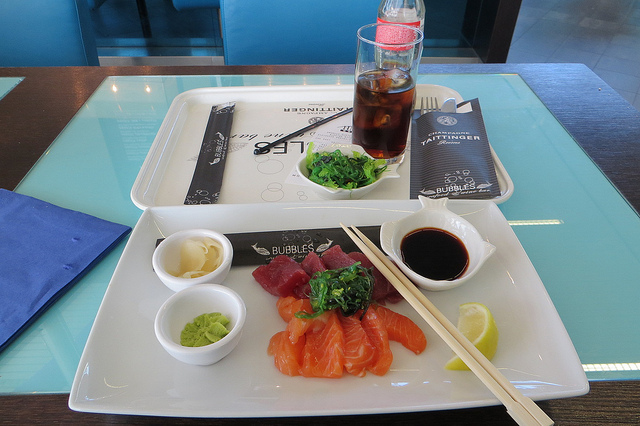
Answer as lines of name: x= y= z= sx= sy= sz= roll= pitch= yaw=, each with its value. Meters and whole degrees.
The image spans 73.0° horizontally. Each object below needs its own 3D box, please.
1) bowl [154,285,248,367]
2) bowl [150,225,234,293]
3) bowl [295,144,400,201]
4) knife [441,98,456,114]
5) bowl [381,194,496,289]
bowl: x=-0.295 y=0.267 z=1.074 sx=0.211 sy=0.115 sz=0.199 roll=1 pitch=44 yaw=-1
bowl: x=-0.339 y=0.115 z=1.186 sx=0.202 sy=0.084 sz=0.215 roll=0 pitch=53 yaw=-1
bowl: x=0.081 y=-0.132 z=1.378 sx=0.231 sy=0.081 sz=0.225 roll=-1 pitch=39 yaw=1
knife: x=0.490 y=-0.404 z=1.639 sx=0.033 sy=0.098 sz=0.040 roll=6 pitch=15 yaw=2
bowl: x=0.322 y=0.082 z=1.197 sx=0.267 sy=0.077 sz=0.259 roll=1 pitch=53 yaw=-1
